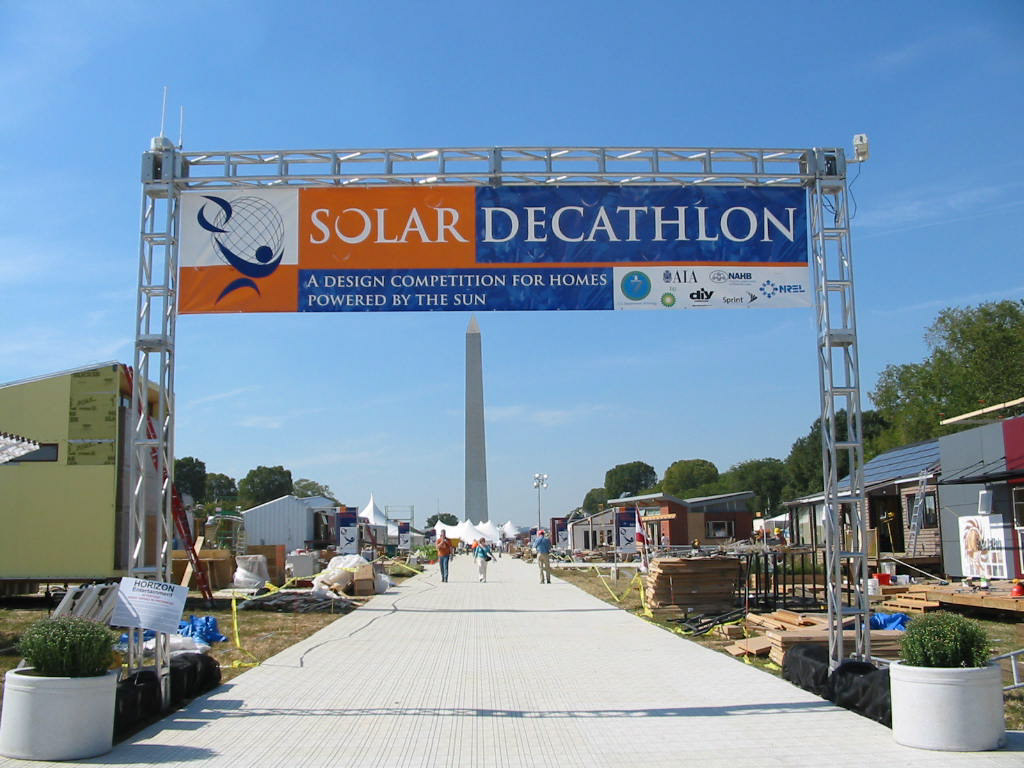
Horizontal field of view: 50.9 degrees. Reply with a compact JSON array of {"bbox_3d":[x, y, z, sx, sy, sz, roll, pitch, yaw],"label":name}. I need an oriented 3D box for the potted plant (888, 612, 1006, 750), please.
[{"bbox_3d":[5.328,3.621,13.129,1.264,1.628,0.495,-5,-14,21],"label":"potted plant"}]
